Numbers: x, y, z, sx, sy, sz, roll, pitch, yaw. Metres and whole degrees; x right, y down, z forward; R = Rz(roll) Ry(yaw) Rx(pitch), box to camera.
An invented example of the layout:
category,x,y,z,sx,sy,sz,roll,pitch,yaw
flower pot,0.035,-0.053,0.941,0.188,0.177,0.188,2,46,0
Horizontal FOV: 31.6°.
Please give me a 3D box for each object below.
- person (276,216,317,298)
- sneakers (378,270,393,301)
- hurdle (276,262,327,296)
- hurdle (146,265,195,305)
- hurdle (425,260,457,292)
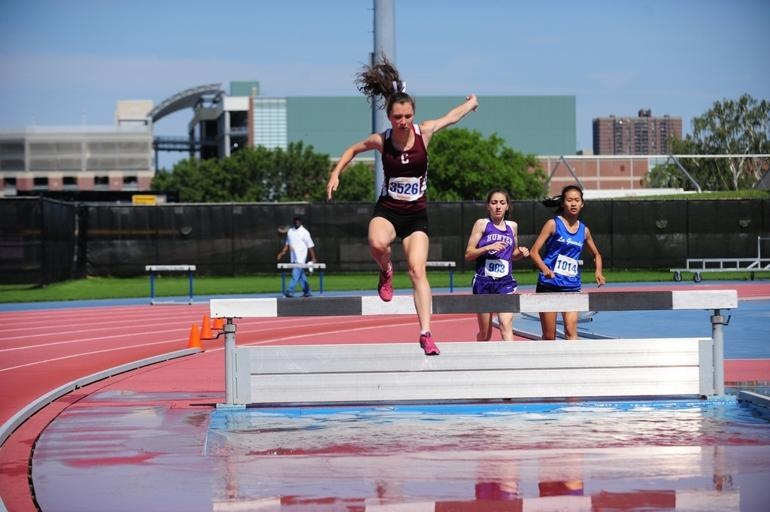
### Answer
category,x,y,z,sx,sy,sz,roll,pitch,yaw
person,-2.731,-0.063,39.107,1.226,2.610,1.139,0,0,13
sneakers,-0.028,0.583,27.312,0.259,0.604,0.269,-4,-1,-6
hurdle,-2.591,0.515,41.628,2.018,1.118,1.026,0,-1,-8
hurdle,-6.160,0.810,38.767,1.418,1.072,0.533,-1,-6,8
hurdle,1.694,0.606,42.277,1.212,0.721,0.136,1,7,1
